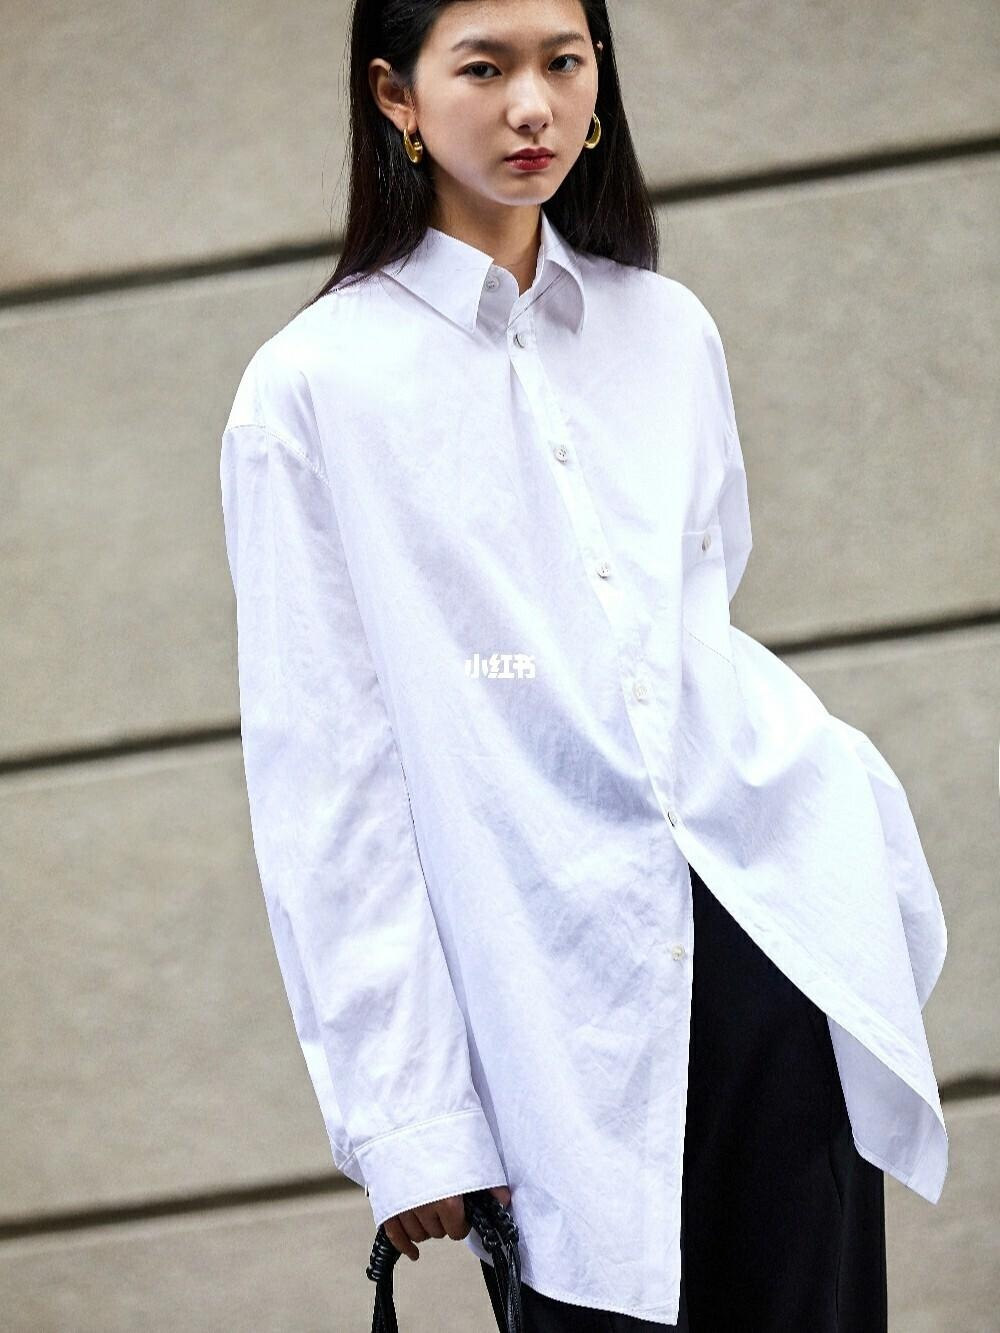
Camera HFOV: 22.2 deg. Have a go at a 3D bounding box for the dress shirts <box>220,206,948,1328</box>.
[{"bbox_3d":[0.078,0.070,2.375,0.638,0.933,0.505,-10,16,-13],"label":"dress shirts"}]

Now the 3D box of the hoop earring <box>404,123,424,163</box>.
[{"bbox_3d":[-0.081,-0.495,2.391,0.009,0.027,0.020,-13,7,29],"label":"hoop earring"}]
